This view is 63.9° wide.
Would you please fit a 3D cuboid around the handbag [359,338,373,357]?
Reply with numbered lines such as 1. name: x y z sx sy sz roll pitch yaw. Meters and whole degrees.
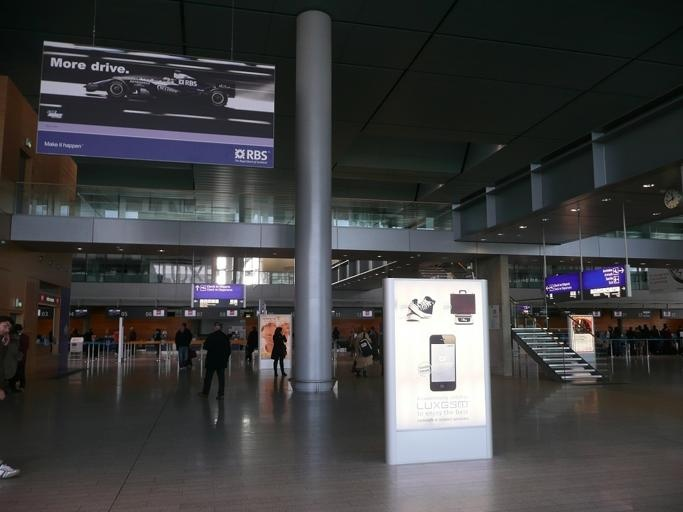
1. handbag: 0.831 3.197 19.022 0.424 0.620 0.386 -1 -9 10

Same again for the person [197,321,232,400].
1. person: -3.080 2.565 13.428 0.606 1.801 1.169 3 -9 -14
